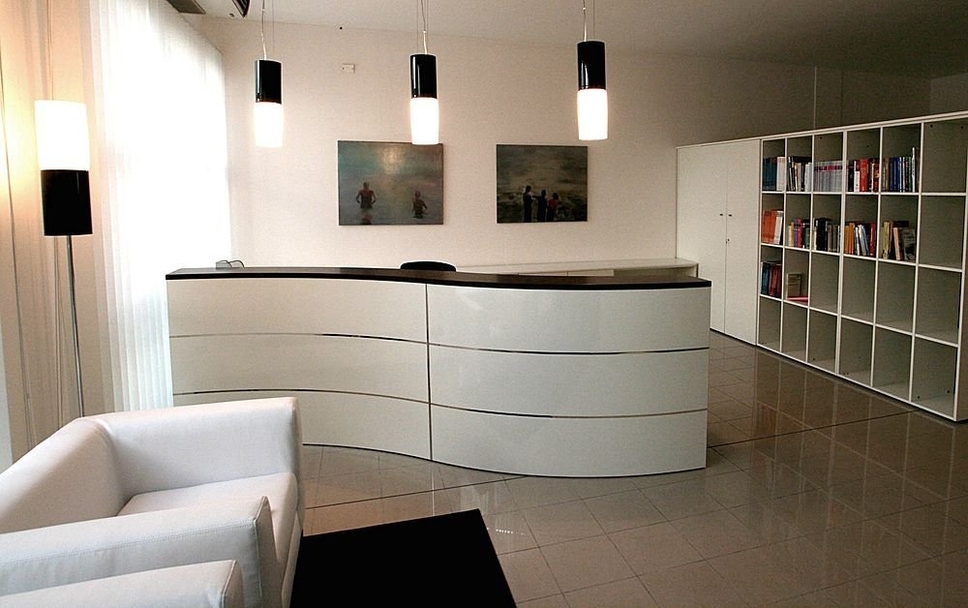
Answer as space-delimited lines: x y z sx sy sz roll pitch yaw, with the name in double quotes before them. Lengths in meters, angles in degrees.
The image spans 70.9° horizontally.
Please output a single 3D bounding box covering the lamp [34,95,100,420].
"lamp" -3.092 -0.317 5.218 0.374 2.412 0.425 -10 16 -32
